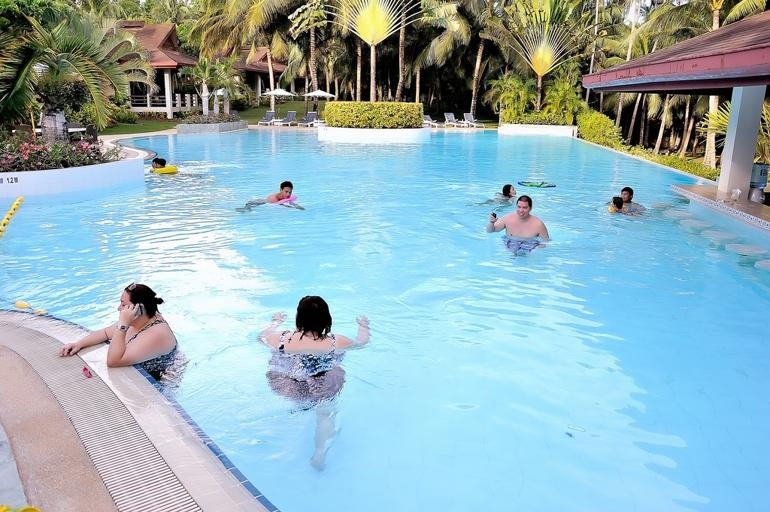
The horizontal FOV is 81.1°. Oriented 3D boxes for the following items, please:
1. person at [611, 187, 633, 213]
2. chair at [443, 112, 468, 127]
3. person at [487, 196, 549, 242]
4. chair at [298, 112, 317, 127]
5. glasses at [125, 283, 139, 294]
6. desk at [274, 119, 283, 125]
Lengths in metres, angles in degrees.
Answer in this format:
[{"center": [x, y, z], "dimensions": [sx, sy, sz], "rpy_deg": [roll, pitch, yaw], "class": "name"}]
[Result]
[{"center": [6.063, -1.364, 11.575], "dimensions": [0.557, 0.304, 0.800], "rpy_deg": [11, 39, 29], "class": "person"}, {"center": [5.992, -11.498, 37.938], "dimensions": [1.924, 1.209, 1.866], "rpy_deg": [2, 15, 8], "class": "chair"}, {"center": [2.695, -0.666, 9.080], "dimensions": [1.322, 0.950, 0.668], "rpy_deg": [3, 19, 13], "class": "person"}, {"center": [-6.047, -10.979, 36.040], "dimensions": [1.296, 1.020, 1.364], "rpy_deg": [3, 16, 11], "class": "chair"}, {"center": [-2.563, 0.315, 4.555], "dimensions": [0.132, 0.129, 0.039], "rpy_deg": [-29, 73, -32], "class": "glasses"}, {"center": [-8.412, -10.577, 35.627], "dimensions": [0.726, 0.483, 1.492], "rpy_deg": [-4, 16, -13], "class": "desk"}]
